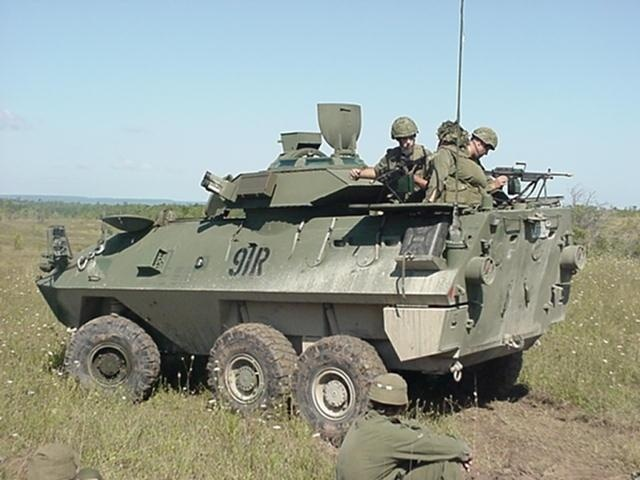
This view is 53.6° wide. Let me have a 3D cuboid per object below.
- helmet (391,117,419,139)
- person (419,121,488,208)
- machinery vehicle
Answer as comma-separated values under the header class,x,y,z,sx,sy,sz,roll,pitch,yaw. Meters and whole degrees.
class,x,y,z,sx,sy,sz,roll,pitch,yaw
helmet,1.181,-1.570,8.948,0.326,0.306,0.252,5,7,14
person,1.862,-1.068,8.790,0.835,1.190,1.270,7,8,29
machinery vehicle,-0.039,-0.194,9.637,7.415,5.756,3.341,7,8,27
